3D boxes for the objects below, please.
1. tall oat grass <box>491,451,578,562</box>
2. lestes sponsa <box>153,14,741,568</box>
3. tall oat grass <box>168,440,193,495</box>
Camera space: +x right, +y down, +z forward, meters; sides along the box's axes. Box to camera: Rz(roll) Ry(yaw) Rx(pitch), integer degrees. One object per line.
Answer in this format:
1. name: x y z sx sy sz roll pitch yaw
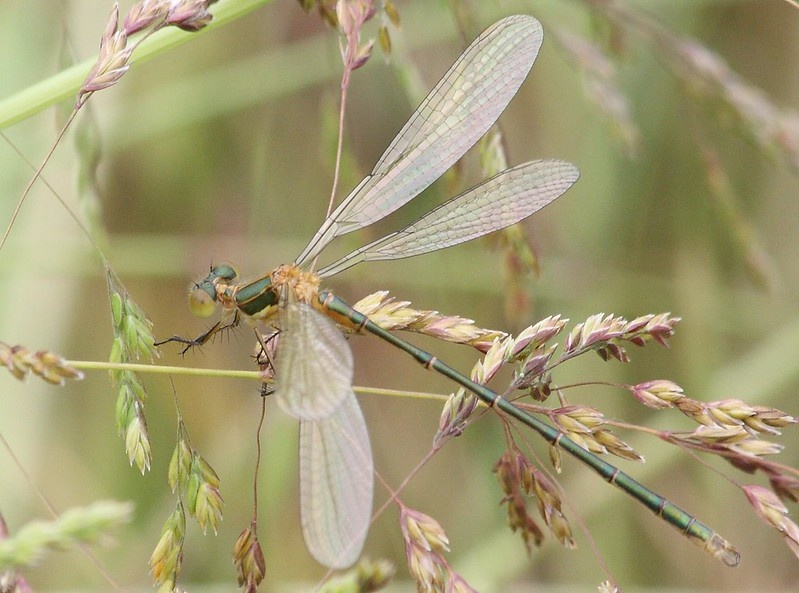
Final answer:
1. tall oat grass: 0.462 0.713 2.848 0.199 0.232 0.404 -22 -81 4
2. lestes sponsa: 0.183 -0.038 3.014 1.237 1.665 2.464 -1 -75 9
3. tall oat grass: -0.751 0.582 2.788 0.073 0.111 0.148 12 -80 -2
